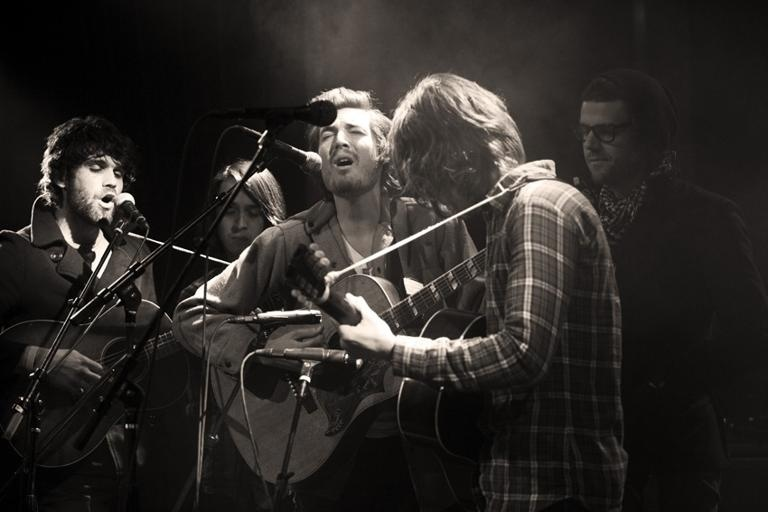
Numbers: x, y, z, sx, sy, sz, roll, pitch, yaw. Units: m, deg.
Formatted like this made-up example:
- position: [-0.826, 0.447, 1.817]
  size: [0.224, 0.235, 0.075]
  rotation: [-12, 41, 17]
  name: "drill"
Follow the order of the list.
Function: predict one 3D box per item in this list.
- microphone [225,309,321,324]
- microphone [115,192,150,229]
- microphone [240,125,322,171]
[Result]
- position: [-0.555, 0.317, 4.225]
  size: [0.457, 0.093, 0.064]
  rotation: [-5, -5, 19]
  name: "microphone"
- position: [-1.282, -0.226, 4.153]
  size: [0.281, 0.097, 0.098]
  rotation: [37, -43, 32]
  name: "microphone"
- position: [-0.457, -0.479, 3.646]
  size: [0.361, 0.130, 0.192]
  rotation: [19, -18, -30]
  name: "microphone"
